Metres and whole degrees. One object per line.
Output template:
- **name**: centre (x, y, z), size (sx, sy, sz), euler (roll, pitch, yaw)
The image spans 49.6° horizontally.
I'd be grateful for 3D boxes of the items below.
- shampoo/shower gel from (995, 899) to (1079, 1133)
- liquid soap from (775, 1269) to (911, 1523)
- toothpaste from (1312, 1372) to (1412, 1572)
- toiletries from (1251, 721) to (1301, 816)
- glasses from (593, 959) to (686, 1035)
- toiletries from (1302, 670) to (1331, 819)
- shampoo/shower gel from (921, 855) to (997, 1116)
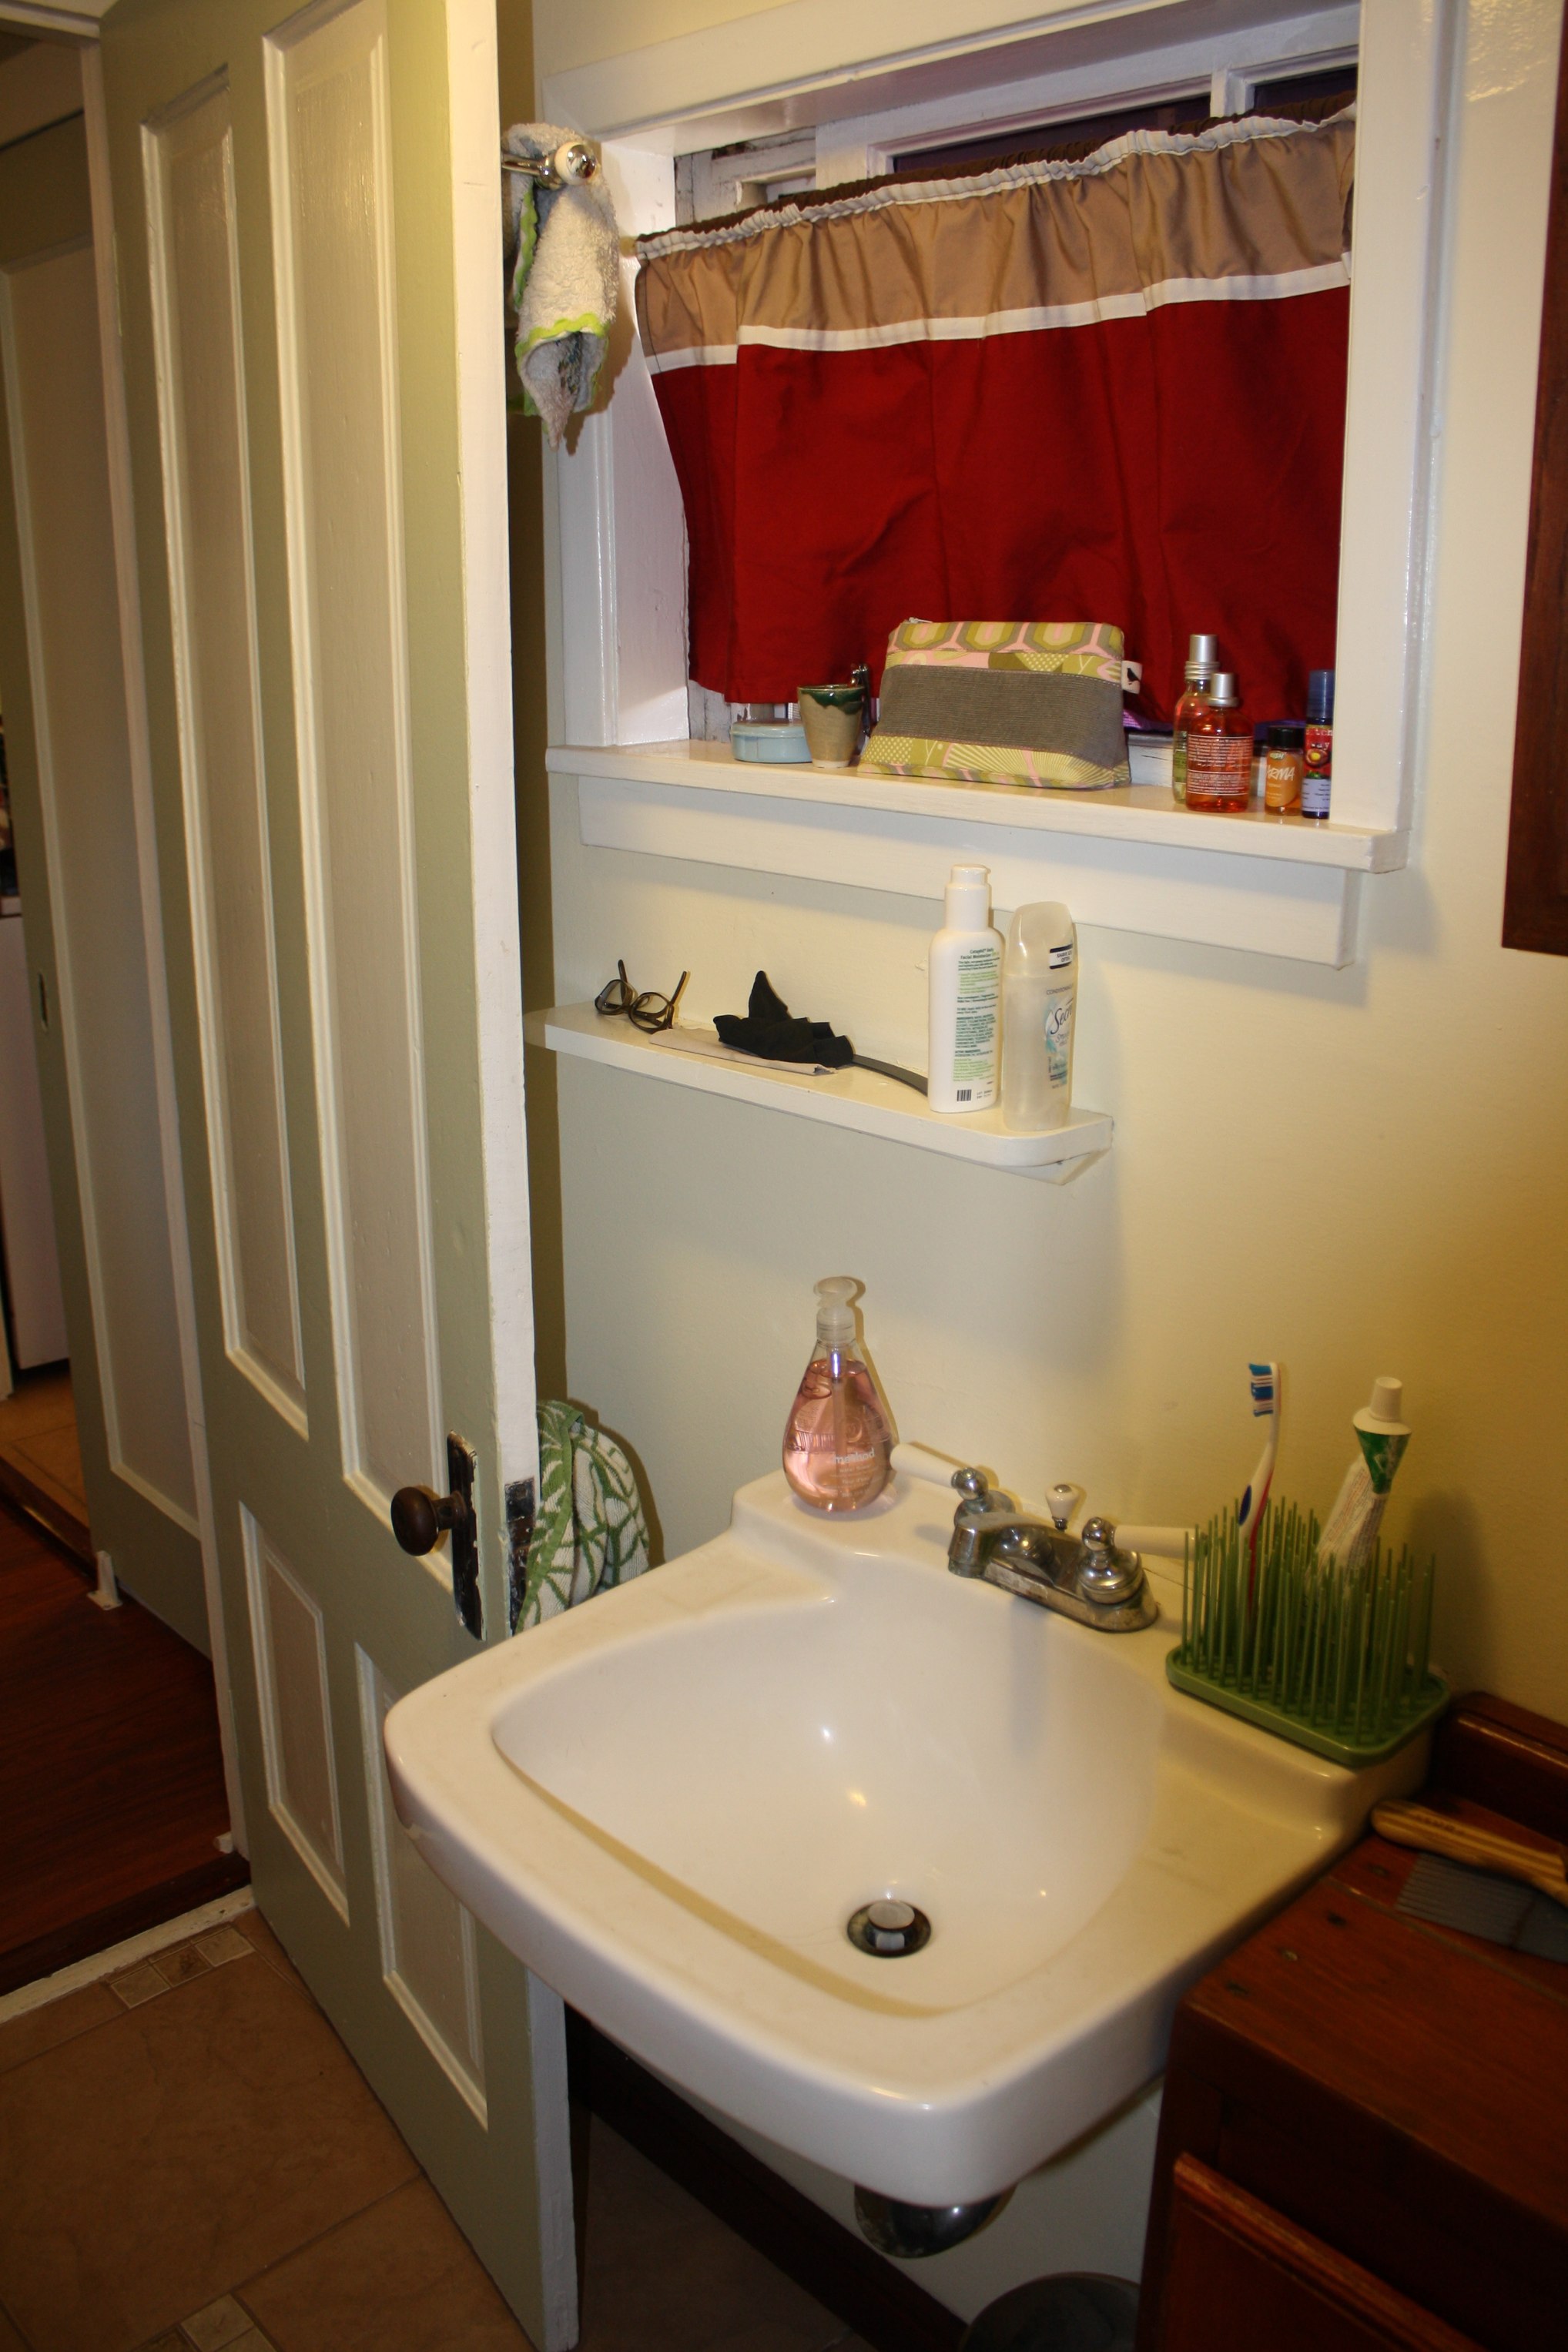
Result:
- **shampoo/shower gel**: centre (0.163, -0.100, 1.080), size (0.050, 0.141, 0.032), euler (-12, 19, -29)
- **liquid soap**: centre (0.047, 0.171, 1.283), size (0.082, 0.200, 0.088), euler (10, 28, 15)
- **toothpaste**: centre (0.313, 0.170, 0.902), size (0.028, 0.121, 0.031), euler (4, 15, 5)
- **toiletries**: centre (0.295, -0.238, 1.009), size (0.025, 0.055, 0.041), euler (2, 8, 13)
- **glasses**: centre (-0.131, -0.161, 1.543), size (0.072, 0.057, 0.189), euler (-3, 9, -19)
- **toiletries**: centre (0.308, -0.247, 0.979), size (0.016, 0.086, 0.077), euler (2, 8, 16)
- **shampoo/shower gel**: centre (0.119, -0.116, 1.102), size (0.054, 0.158, 0.052), euler (-2, 7, -11)
